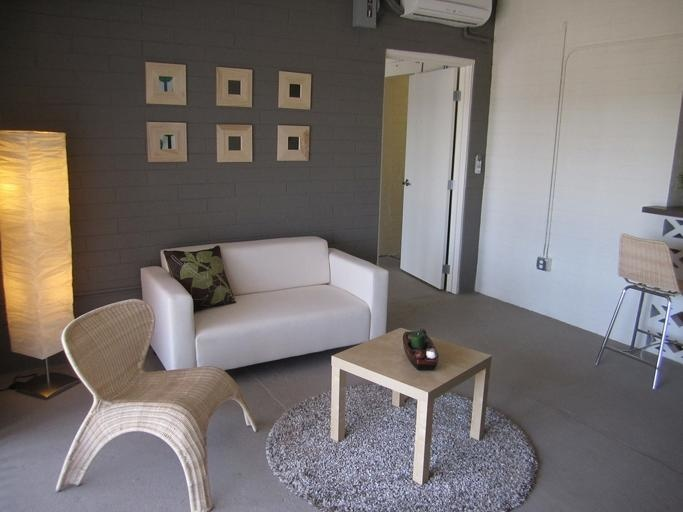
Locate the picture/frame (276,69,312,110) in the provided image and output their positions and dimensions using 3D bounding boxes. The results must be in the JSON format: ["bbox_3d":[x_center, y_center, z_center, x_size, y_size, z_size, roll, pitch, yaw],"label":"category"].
[{"bbox_3d":[-0.423,-1.470,4.369,0.299,0.312,0.023,8,18,12],"label":"picture/frame"}]

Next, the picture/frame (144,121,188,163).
[{"bbox_3d":[-1.439,-0.923,3.940,0.315,0.340,0.022,-7,15,-35],"label":"picture/frame"}]

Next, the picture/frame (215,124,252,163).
[{"bbox_3d":[-0.947,-0.973,4.195,0.310,0.335,0.023,-5,13,-30],"label":"picture/frame"}]

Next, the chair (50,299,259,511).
[{"bbox_3d":[-0.966,0.744,2.879,0.958,0.983,1.114,5,16,5],"label":"chair"}]

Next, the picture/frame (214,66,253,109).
[{"bbox_3d":[-0.932,-1.428,4.110,0.344,0.358,0.026,-4,12,-28],"label":"picture/frame"}]

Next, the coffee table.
[{"bbox_3d":[0.428,0.902,3.083,0.739,0.584,0.742,10,14,42],"label":"coffee table"}]

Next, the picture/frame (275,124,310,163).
[{"bbox_3d":[-0.466,-1.027,4.431,0.322,0.346,0.021,-7,14,-30],"label":"picture/frame"}]
